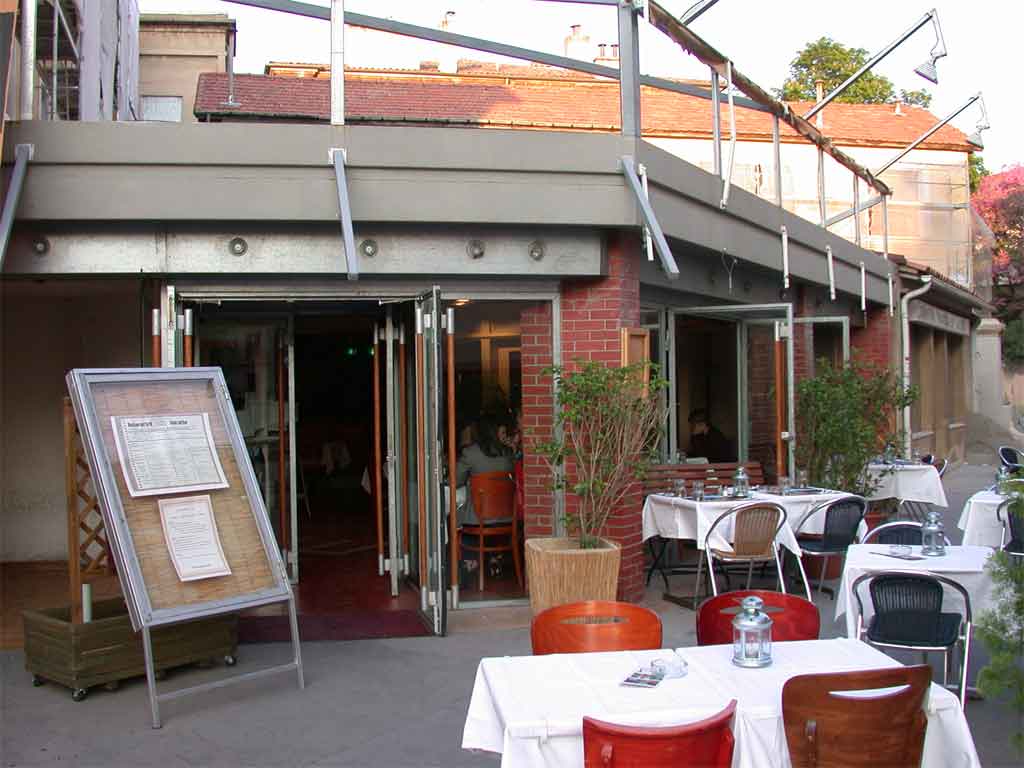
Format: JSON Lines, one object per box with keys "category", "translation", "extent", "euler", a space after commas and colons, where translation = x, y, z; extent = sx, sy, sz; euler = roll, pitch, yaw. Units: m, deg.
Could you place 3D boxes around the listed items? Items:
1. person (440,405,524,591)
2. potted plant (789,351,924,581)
{"category": "person", "translation": [-0.212, 1.212, 10.349], "extent": [0.680, 1.750, 0.816], "euler": [-1, 7, 0]}
{"category": "potted plant", "translation": [4.628, 0.807, 12.294], "extent": [1.942, 2.476, 1.785], "euler": [2, 5, 14]}
